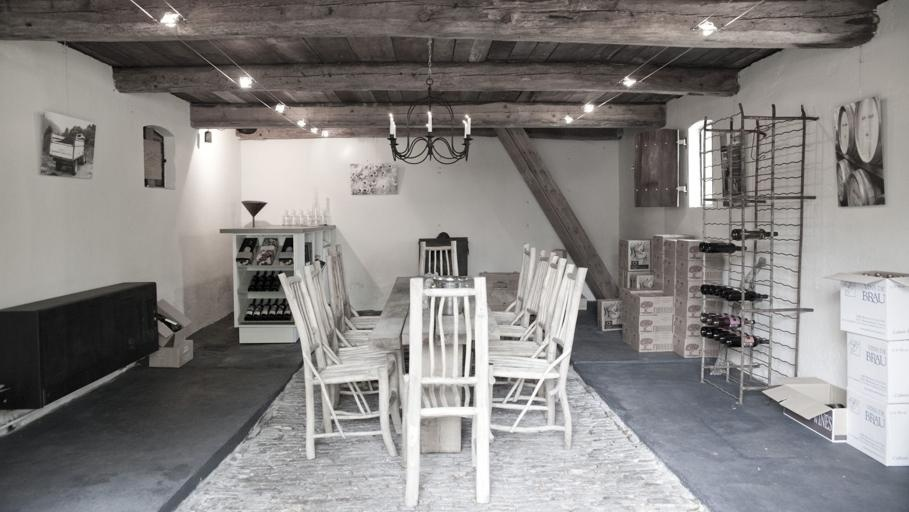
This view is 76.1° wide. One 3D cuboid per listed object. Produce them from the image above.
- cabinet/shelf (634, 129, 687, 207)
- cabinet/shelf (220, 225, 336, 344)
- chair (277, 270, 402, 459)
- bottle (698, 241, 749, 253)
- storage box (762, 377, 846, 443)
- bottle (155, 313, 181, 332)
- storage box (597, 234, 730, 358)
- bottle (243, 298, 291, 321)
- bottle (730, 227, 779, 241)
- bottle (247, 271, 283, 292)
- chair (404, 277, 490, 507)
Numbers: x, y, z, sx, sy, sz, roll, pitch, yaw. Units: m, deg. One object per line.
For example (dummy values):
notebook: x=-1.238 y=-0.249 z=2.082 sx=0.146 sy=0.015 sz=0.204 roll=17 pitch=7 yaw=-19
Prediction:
cabinet/shelf: x=3.178 y=-1.339 z=8.976 sx=0.736 sy=1.191 sz=0.306 roll=0 pitch=5 yaw=18
cabinet/shelf: x=-2.758 y=0.373 z=9.296 sx=1.216 sy=1.569 sz=1.826 roll=-6 pitch=-7 yaw=4
chair: x=-1.145 y=1.099 z=7.210 sx=2.004 sy=2.585 sz=1.699 roll=-1 pitch=6 yaw=-5
bottle: x=3.446 y=-0.091 z=7.404 sx=0.441 sy=0.160 sz=0.639 roll=1 pitch=4 yaw=33
storage box: x=4.043 y=1.691 z=6.566 sx=0.966 sy=0.401 sz=1.225 roll=1 pitch=1 yaw=-2
bottle: x=-3.903 y=0.914 z=7.830 sx=0.115 sy=0.347 sz=0.078 roll=-38 pitch=23 yaw=46
storage box: x=3.041 y=0.624 z=8.288 sx=1.077 sy=1.711 sz=1.917 roll=0 pitch=1 yaw=0
bottle: x=-2.842 y=0.827 z=8.868 sx=0.506 sy=0.116 sz=0.400 roll=-1 pitch=34 yaw=-6
bottle: x=3.574 y=-0.250 z=6.951 sx=0.445 sy=0.140 sz=0.399 roll=-1 pitch=4 yaw=7
bottle: x=-2.934 y=0.403 z=8.886 sx=0.345 sy=0.125 sz=0.410 roll=0 pitch=10 yaw=-7
chair: x=-0.092 y=1.239 z=5.824 sx=0.886 sy=2.125 sz=1.148 roll=-1 pitch=5 yaw=2
